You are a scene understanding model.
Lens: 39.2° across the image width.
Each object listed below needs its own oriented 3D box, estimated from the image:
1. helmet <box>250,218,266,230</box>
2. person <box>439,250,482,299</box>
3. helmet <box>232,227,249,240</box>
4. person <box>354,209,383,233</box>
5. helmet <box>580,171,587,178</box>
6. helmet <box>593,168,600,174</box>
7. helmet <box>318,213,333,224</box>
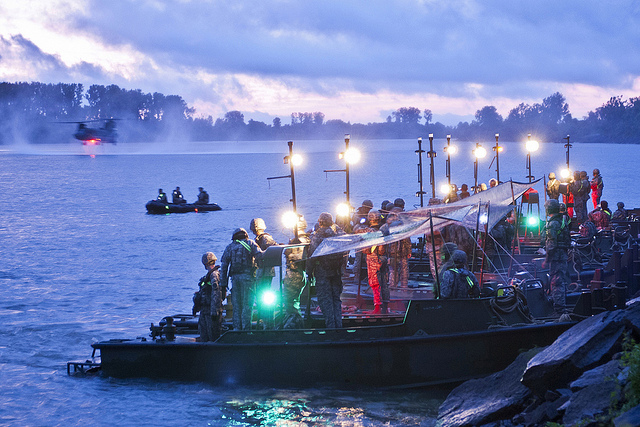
[{"bbox_3d":[-2.202,0.367,32.152,0.415,0.382,0.435,-7,14,-30],"label":"helmet"},{"bbox_3d":[4.658,2.040,30.177,1.331,1.590,0.504,-1,2,5],"label":"person"},{"bbox_3d":[-2.748,0.726,31.374,0.473,0.357,0.510,-2,2,-35],"label":"helmet"},{"bbox_3d":[1.846,0.286,33.390,0.865,0.825,1.325,-1,2,6],"label":"person"},{"bbox_3d":[12.943,-1.941,44.393,0.261,0.331,0.329,11,46,13],"label":"helmet"},{"bbox_3d":[13.858,-2.101,45.387,0.295,0.286,0.369,-4,12,-11],"label":"helmet"},{"bbox_3d":[0.230,0.185,31.228,0.461,0.378,0.373,-1,2,-3],"label":"helmet"}]
